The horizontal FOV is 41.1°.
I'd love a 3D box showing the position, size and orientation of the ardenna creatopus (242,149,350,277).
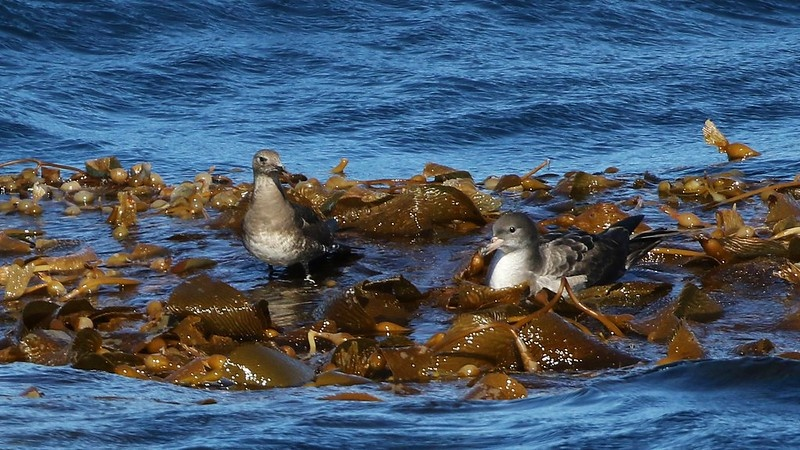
[{"bbox_3d":[-1.442,-0.128,13.673,1.105,1.660,0.559,0,15,-5],"label":"ardenna creatopus"}]
